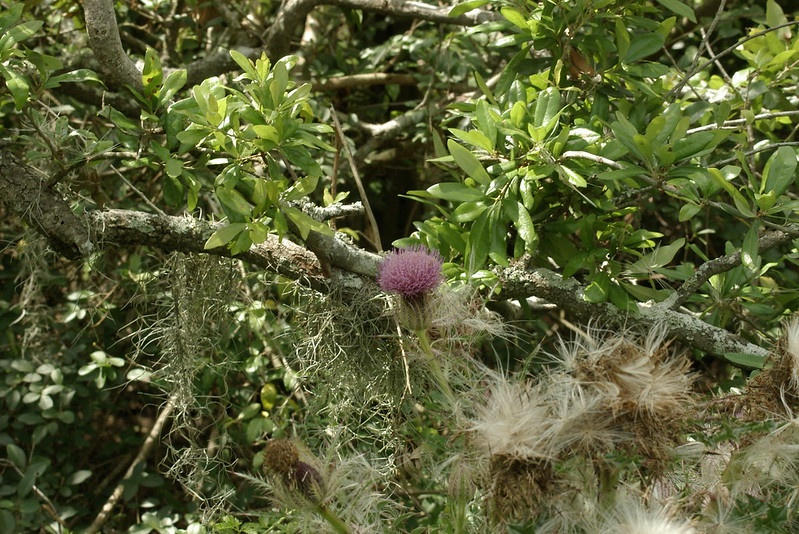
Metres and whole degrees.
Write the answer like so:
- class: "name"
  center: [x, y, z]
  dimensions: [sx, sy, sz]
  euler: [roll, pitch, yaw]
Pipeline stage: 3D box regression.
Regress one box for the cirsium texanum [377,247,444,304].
- class: "cirsium texanum"
  center: [0.026, 0.014, 2.918]
  dimensions: [0.204, 0.153, 0.183]
  euler: [-5, 8, 2]
